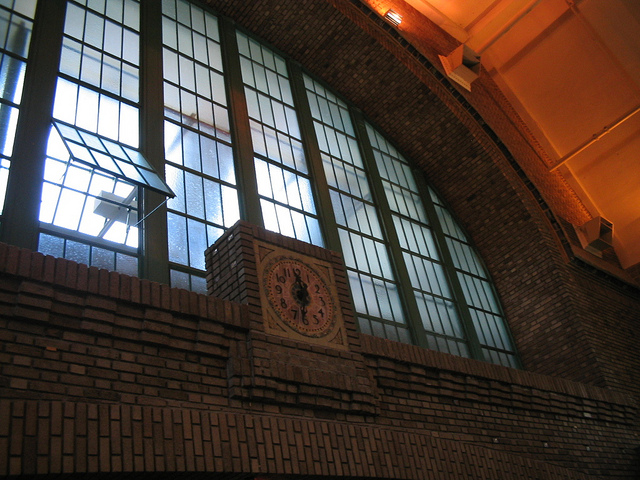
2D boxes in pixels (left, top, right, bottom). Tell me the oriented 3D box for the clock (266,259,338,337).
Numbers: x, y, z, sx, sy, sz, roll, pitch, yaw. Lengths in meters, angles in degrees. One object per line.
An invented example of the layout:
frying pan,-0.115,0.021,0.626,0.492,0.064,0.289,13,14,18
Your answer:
clock,-0.314,0.889,8.126,1.016,0.978,0.141,31,-50,-22
